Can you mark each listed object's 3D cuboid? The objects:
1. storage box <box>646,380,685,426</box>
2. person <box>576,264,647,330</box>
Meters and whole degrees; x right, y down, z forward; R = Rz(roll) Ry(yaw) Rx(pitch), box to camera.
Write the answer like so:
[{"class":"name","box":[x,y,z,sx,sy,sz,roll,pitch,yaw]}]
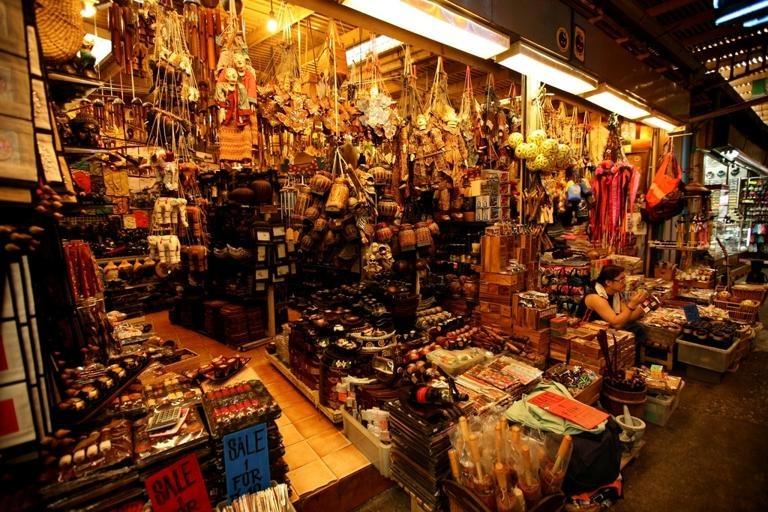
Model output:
[{"class":"storage box","box":[3.238,1.658,5.684,0.530,0.218,0.330,-23,18,-33]},{"class":"person","box":[2.959,0.530,6.329,0.947,0.851,0.610,-5,8,-36]}]
